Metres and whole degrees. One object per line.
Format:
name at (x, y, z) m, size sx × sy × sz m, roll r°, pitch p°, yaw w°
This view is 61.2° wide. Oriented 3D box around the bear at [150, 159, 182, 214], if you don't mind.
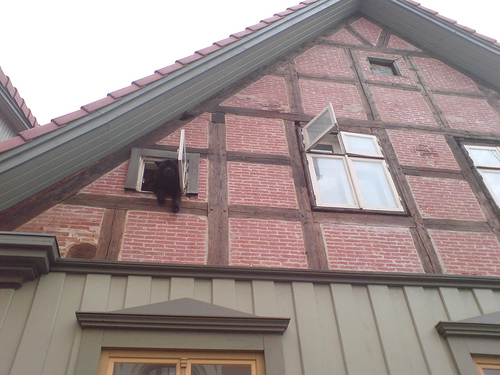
bear at (-1.286, -0.011, 7.166) m, size 0.613 × 0.513 × 0.837 m, roll 5°, pitch -40°, yaw -2°
